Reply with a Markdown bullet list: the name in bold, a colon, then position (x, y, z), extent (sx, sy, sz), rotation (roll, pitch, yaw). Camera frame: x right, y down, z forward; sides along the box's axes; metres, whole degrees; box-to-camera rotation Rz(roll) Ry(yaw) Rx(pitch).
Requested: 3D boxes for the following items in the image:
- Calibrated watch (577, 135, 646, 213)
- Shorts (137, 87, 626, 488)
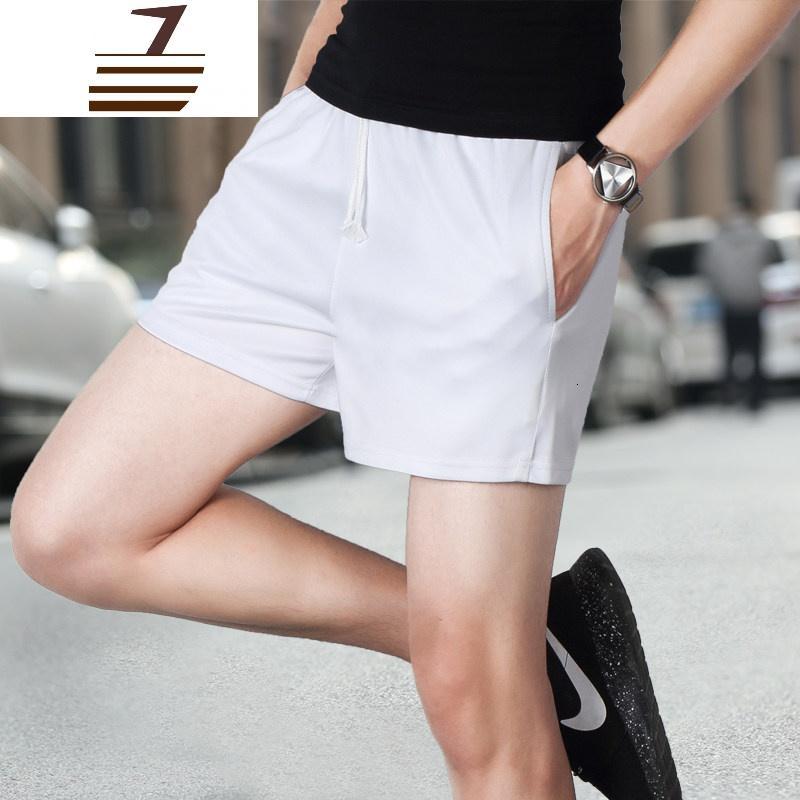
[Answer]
- **Calibrated watch**: position (0.164, -0.178, 0.722), extent (0.055, 0.041, 0.053), rotation (38, 2, 17)
- **Shorts**: position (-0.024, -0.117, 0.837), extent (0.438, 0.284, 0.231), rotation (17, 34, 30)
